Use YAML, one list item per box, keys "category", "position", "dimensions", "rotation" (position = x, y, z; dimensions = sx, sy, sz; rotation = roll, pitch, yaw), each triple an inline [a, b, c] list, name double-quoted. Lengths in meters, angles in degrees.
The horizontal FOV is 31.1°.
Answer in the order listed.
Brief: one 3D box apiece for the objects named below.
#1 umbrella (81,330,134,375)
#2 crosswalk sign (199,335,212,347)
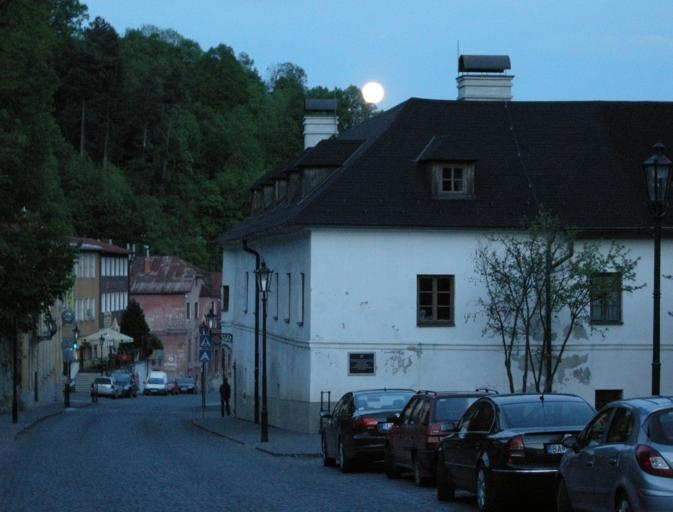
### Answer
- category: "umbrella"
  position: [-17.640, 7.458, 91.647]
  dimensions: [3.160, 3.022, 3.444]
  rotation: [0, 2, -7]
- category: "crosswalk sign"
  position: [-6.089, 3.887, 55.157]
  dimensions: [0.465, 0.524, 0.587]
  rotation: [2, -5, 3]
